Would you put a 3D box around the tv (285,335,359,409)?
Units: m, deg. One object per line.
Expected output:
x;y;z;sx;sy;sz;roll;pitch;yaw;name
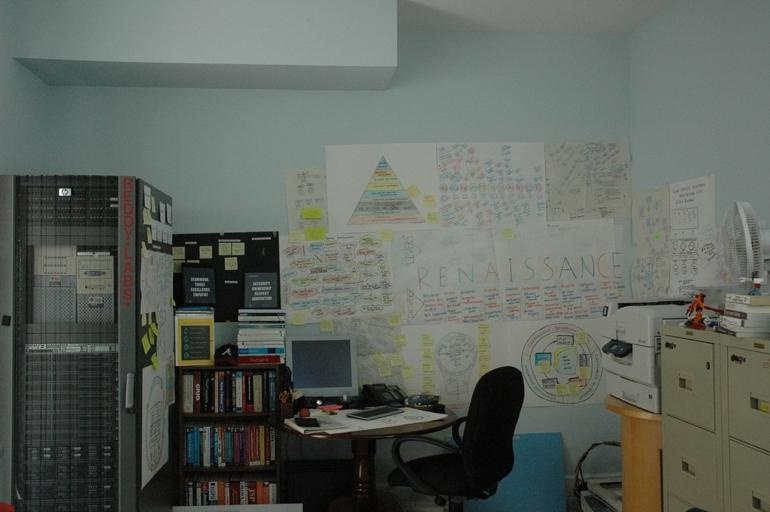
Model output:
-0.503;0.924;5.106;0.470;0.429;0.160;-1;-14;-8;tv

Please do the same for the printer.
1.798;0.689;4.618;0.666;0.878;0.616;1;-1;-8;printer
